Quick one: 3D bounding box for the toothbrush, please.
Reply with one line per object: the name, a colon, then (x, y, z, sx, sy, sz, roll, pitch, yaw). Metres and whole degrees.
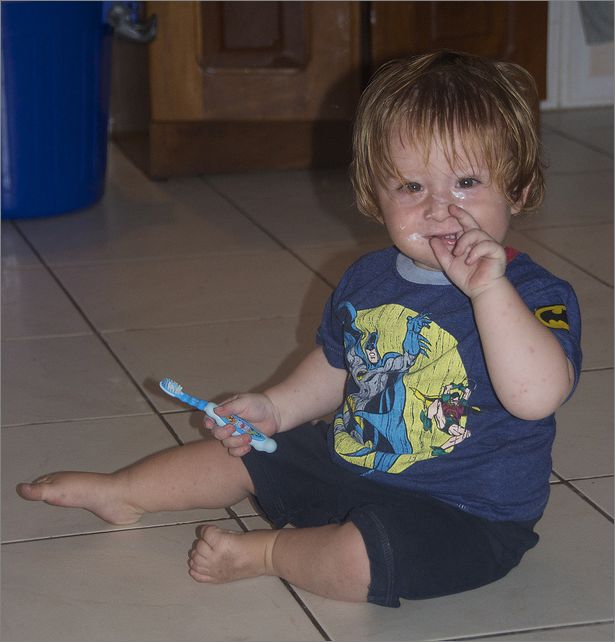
toothbrush: (-0.122, 0.129, 0.992, 0.192, 0.032, 0.034, 27, 60, -4)

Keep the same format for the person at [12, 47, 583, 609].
person: (0.011, -0.021, 1.017, 0.711, 0.636, 0.612, -1, 13, -22)
